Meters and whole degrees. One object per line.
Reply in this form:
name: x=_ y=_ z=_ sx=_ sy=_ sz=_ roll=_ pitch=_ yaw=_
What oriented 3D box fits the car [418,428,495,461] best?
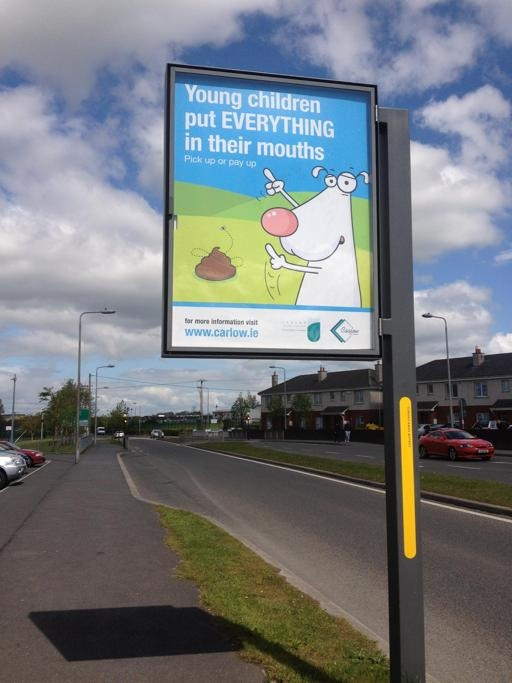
car: x=8.700 y=4.584 z=26.559 sx=1.317 sy=1.317 sz=3.548 roll=-1 pitch=-5 yaw=-16
